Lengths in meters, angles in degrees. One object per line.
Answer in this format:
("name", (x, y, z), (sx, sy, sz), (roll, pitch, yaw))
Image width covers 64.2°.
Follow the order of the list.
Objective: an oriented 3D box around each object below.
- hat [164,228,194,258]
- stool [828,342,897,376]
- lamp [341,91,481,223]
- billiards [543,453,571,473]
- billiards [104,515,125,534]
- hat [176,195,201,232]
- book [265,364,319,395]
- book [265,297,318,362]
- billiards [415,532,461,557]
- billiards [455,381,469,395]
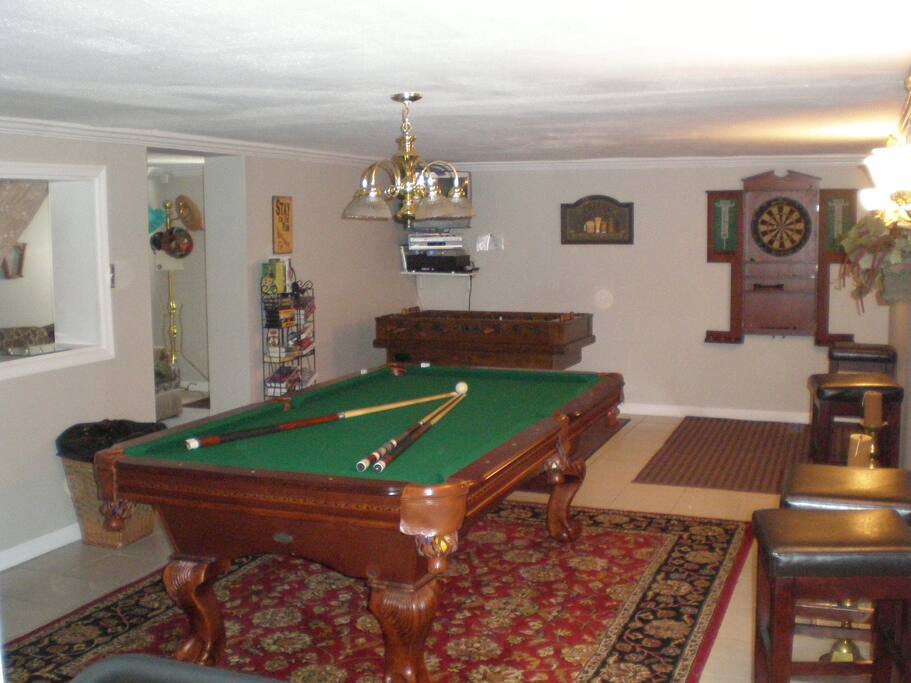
("hat", (-3.259, -1.160, 8.544), (0.304, 0.346, 0.166), (-5, 11, -24))
("stool", (3.286, 0.124, 5.872), (0.470, 0.350, 0.471), (1, 4, 31))
("lamp", (-0.230, -1.008, 4.065), (0.662, 0.695, 0.756), (1, 10, 9))
("billiards", (0.536, 0.651, 3.924), (0.102, 0.100, 0.101), (-7, -6, 10))
("billiards", (-2.185, 1.176, 4.691), (0.136, 0.094, 0.116), (5, -7, -22))
("hat", (-3.070, -1.489, 8.392), (0.271, 0.373, 0.308), (-4, 11, -19))
("book", (-1.438, 0.318, 6.396), (0.359, 0.177, 0.503), (1, 7, 14))
("book", (-1.443, -0.122, 6.330), (0.483, 0.543, 0.317), (-6, 12, -30))
("billiards", (-0.076, 0.778, 2.847), (0.132, 0.083, 0.115), (-5, -6, 14))
("billiards", (0.044, 0.296, 4.632), (0.074, 0.070, 0.083), (3, 4, -9))
